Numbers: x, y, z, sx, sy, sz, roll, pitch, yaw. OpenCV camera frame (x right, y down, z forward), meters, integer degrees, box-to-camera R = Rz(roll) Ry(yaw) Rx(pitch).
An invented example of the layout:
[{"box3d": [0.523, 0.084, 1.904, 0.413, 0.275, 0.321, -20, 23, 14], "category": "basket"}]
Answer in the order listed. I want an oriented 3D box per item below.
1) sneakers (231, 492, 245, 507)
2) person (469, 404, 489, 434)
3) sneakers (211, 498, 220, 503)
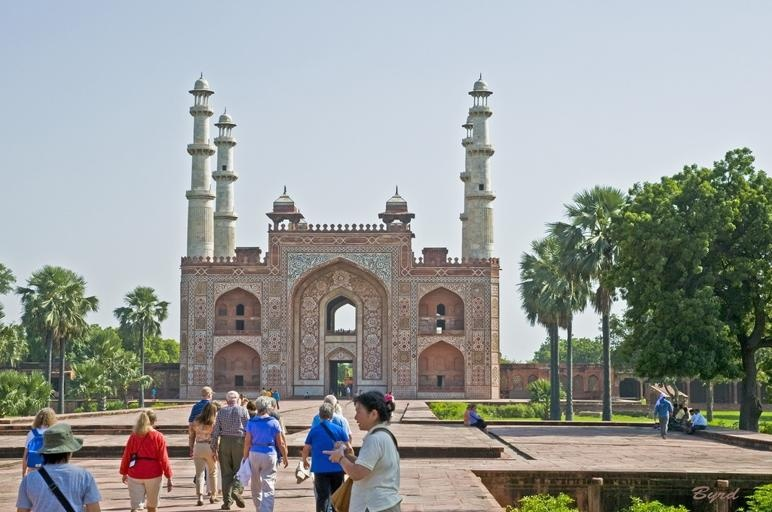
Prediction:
[{"box3d": [-3.957, 6.728, 40.328, 0.210, 0.481, 0.202, -24, 21, 8], "category": "sneakers"}, {"box3d": [3.277, 5.875, 53.474, 0.647, 0.987, 1.394, -1, -10, 3], "category": "person"}, {"box3d": [-4.662, 6.846, 40.953, 0.203, 0.083, 0.104, -6, -5, 17], "category": "sneakers"}]
